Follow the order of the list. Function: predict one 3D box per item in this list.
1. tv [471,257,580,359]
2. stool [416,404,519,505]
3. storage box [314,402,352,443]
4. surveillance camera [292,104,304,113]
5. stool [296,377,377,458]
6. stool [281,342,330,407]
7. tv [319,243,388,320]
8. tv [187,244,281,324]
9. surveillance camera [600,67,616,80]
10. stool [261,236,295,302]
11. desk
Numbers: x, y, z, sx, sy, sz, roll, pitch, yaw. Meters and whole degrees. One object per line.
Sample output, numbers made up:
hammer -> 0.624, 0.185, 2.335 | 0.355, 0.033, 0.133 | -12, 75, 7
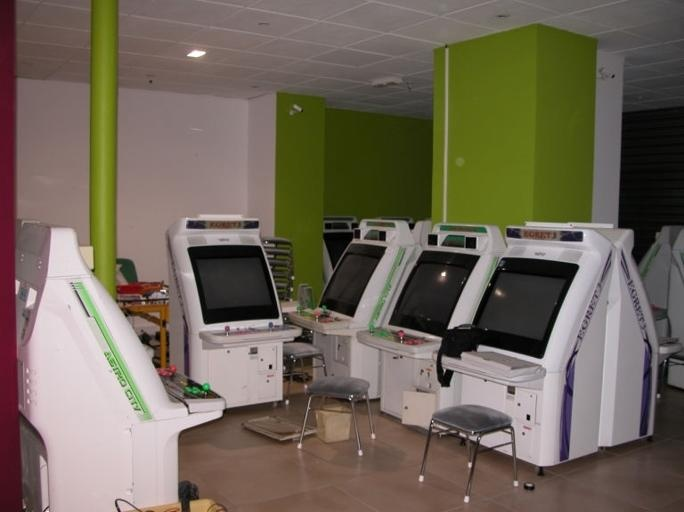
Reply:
tv -> 1.513, 0.444, 4.591 | 0.404, 0.801, 0.599 | 21, -3, -34
stool -> 0.972, 1.458, 4.411 | 0.712, 0.664, 0.608 | -3, 7, -33
storage box -> -0.080, 1.504, 5.137 | 0.281, 0.270, 0.276 | 2, -5, -31
surveillance camera -> -0.755, -2.418, 9.335 | 0.156, 0.155, 0.267 | 1, 11, -36
stool -> -0.039, 1.343, 4.933 | 0.787, 0.554, 0.806 | 5, -3, -21
stool -> -0.437, 1.226, 6.156 | 0.556, 0.604, 0.660 | 3, -3, -25
tv -> 0.100, 0.240, 6.271 | 0.485, 0.725, 0.715 | -3, 7, -31
tv -> -1.109, 0.301, 5.630 | 0.698, 0.694, 0.374 | 1, -23, -37
surveillance camera -> 3.099, -2.118, 6.612 | 0.357, 0.145, 0.093 | -5, 9, -43
stool -> -0.837, 0.166, 7.702 | 0.240, 0.799, 0.549 | -2, 2, 25
desk -> -2.423, 0.822, 7.203 | 0.894, 1.216, 1.039 | -1, 0, -19
